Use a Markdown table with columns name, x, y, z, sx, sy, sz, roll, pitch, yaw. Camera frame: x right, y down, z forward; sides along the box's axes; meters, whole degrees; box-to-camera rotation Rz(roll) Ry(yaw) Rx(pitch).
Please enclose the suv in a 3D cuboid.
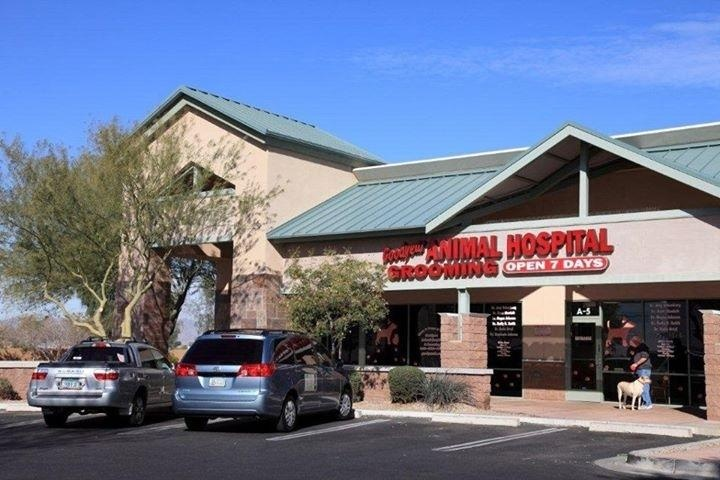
| name | x | y | z | sx | sy | sz | roll | pitch | yaw |
| --- | --- | --- | --- | --- | --- | --- | --- | --- | --- |
| suv | -2.344 | 3.735 | 17.992 | 1.915 | 2.614 | 4.374 | -11 | -17 | 44 |
